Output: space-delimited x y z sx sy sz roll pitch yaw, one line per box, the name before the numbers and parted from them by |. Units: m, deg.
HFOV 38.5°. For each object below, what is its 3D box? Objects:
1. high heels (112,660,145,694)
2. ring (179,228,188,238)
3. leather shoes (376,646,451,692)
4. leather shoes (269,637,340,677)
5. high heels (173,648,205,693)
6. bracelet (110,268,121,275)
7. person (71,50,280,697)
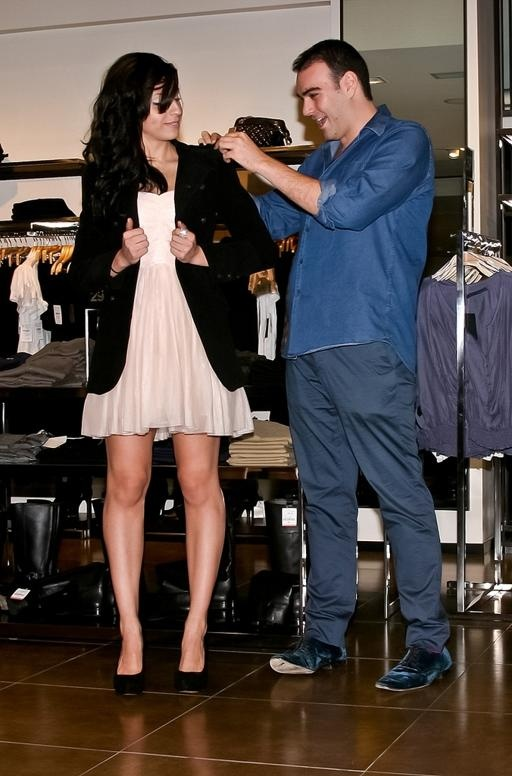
high heels | -0.314 0.720 1.821 0.092 0.065 0.157 0 -11 -6
ring | -0.173 -0.370 1.744 0.029 0.028 0.005 2 13 1
leather shoes | 0.407 0.723 1.921 0.220 0.082 0.078 -4 0 -42
leather shoes | 0.154 0.746 2.061 0.214 0.082 0.075 0 -9 -32
high heels | -0.163 0.730 1.841 0.080 0.063 0.054 1 -9 -9
bracelet | -0.353 -0.293 1.839 0.016 0.015 0.019 -6 -4 -7
person | -0.227 -0.033 1.901 0.477 1.586 0.396 9 -13 -44
